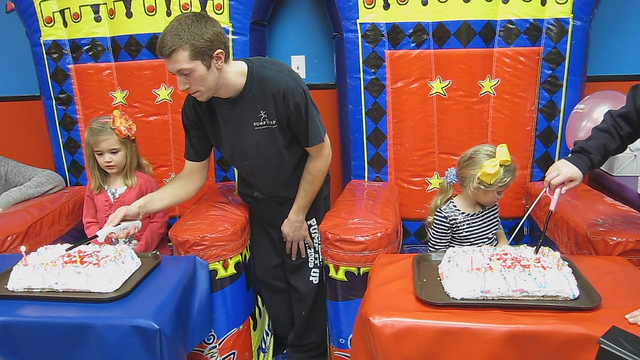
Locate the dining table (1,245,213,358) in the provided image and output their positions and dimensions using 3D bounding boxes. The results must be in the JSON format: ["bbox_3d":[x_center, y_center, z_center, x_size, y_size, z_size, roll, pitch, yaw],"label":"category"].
[{"bbox_3d":[-1.096,0.585,2.479,1.021,0.212,0.528,2,31,2],"label":"dining table"}]

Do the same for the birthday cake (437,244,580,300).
[{"bbox_3d":[0.853,0.418,2.310,0.586,0.088,0.322,0,41,6],"label":"birthday cake"}]

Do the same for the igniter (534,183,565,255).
[{"bbox_3d":[1.235,0.215,2.680,0.040,0.406,0.089,14,17,-31],"label":"igniter"}]

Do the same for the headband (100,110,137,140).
[{"bbox_3d":[-1.162,-0.320,2.963,0.128,0.168,0.092,-17,26,-32],"label":"headband"}]

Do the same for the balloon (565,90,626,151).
[{"bbox_3d":[1.565,-0.358,2.854,0.307,0.408,0.194,0,-1,4],"label":"balloon"}]

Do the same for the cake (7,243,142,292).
[{"bbox_3d":[-1.189,0.435,2.454,0.337,0.092,0.325,2,6,7],"label":"cake"}]
